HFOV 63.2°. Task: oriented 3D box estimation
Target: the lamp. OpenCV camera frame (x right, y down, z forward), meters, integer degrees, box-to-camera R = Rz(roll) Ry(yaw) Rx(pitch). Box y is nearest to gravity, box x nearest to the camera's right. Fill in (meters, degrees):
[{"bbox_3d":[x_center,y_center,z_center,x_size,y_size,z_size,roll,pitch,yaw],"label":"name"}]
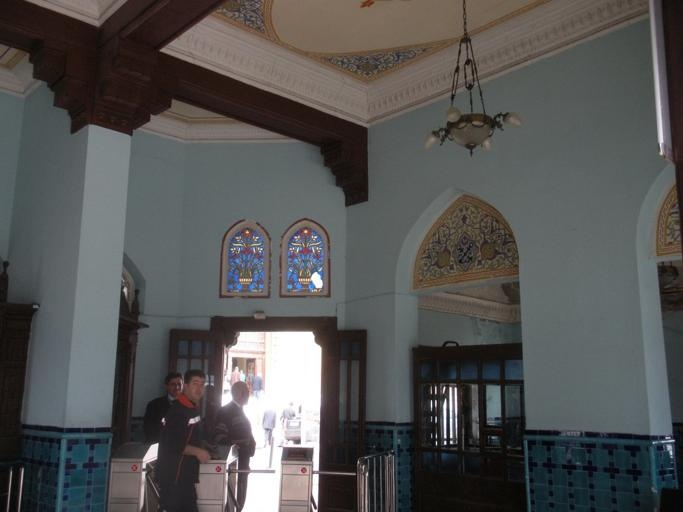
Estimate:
[{"bbox_3d":[1.825,-2.447,7.482,1.028,2.604,1.013,21,-29,-34],"label":"lamp"}]
